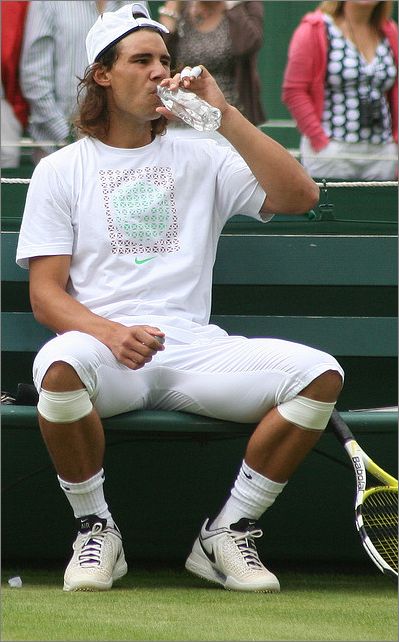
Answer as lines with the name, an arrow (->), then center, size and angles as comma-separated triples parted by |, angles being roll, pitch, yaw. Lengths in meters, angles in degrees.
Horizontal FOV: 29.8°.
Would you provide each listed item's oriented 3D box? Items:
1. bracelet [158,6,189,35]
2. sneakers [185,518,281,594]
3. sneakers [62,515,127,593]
bracelet -> -0.108, -1.134, 2.811 | 0.126, 0.097, 0.034 | 39, 39, 7
sneakers -> 0.063, 0.500, 1.608 | 0.092, 0.120, 0.251 | 20, -10, -39
sneakers -> -0.219, 0.470, 1.499 | 0.107, 0.084, 0.151 | -3, 27, -2
